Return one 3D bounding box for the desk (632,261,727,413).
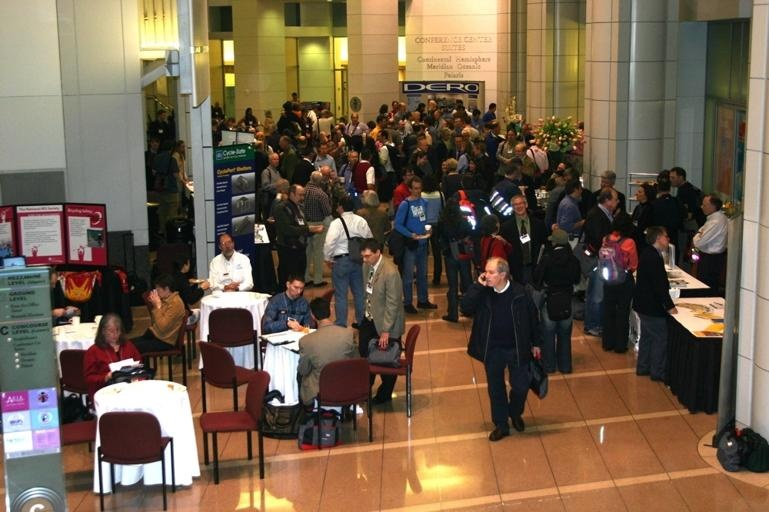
[{"bbox_3d":[3.730,1.095,8.827,0.583,0.618,1.684,-5,23,-2],"label":"desk"}]

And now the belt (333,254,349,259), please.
[{"bbox_3d":[-0.632,0.001,10.144,0.213,0.087,0.036,-3,13,-2],"label":"belt"}]

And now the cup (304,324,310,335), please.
[{"bbox_3d":[-0.941,0.926,8.597,0.092,0.096,0.058,-2,9,-5],"label":"cup"}]

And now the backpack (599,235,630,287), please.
[{"bbox_3d":[3.180,0.064,9.615,0.368,0.659,0.409,-26,27,-39],"label":"backpack"}]

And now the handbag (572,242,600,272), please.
[{"bbox_3d":[3.041,0.019,10.463,0.168,0.443,0.434,-28,35,-17],"label":"handbag"}]

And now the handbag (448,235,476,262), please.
[{"bbox_3d":[1.223,-0.118,10.709,0.387,0.420,0.292,-7,12,-9],"label":"handbag"}]

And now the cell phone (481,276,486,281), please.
[{"bbox_3d":[1.106,0.248,7.691,0.035,0.035,0.066,-8,48,-14],"label":"cell phone"}]

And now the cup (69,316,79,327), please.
[{"bbox_3d":[-4.076,0.870,9.152,0.166,0.153,0.100,0,6,-7],"label":"cup"}]

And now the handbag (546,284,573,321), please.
[{"bbox_3d":[2.333,0.609,9.182,0.314,0.459,0.249,-13,37,4],"label":"handbag"}]

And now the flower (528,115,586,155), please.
[{"bbox_3d":[3.789,-2.557,14.888,1.023,0.730,1.044,6,17,22],"label":"flower"}]

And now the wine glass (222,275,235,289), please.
[{"bbox_3d":[-2.233,0.388,9.967,0.176,0.185,0.181,-4,7,-24],"label":"wine glass"}]

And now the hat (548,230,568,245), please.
[{"bbox_3d":[2.307,-0.267,9.311,0.177,0.128,0.242,-15,28,-18],"label":"hat"}]

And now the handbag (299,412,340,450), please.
[{"bbox_3d":[-0.636,2.045,8.048,0.421,0.391,0.239,-5,-4,18],"label":"handbag"}]

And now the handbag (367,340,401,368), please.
[{"bbox_3d":[0.059,1.169,8.451,0.454,0.257,0.441,0,35,11],"label":"handbag"}]

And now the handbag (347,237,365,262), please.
[{"bbox_3d":[-0.385,-0.099,9.735,0.253,0.349,0.200,10,16,25],"label":"handbag"}]

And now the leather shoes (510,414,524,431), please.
[{"bbox_3d":[1.579,1.988,8.225,0.090,0.246,0.095,-27,9,-15],"label":"leather shoes"}]

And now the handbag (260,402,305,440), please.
[{"bbox_3d":[-1.188,1.949,8.279,0.430,0.367,0.418,14,-10,-43],"label":"handbag"}]
